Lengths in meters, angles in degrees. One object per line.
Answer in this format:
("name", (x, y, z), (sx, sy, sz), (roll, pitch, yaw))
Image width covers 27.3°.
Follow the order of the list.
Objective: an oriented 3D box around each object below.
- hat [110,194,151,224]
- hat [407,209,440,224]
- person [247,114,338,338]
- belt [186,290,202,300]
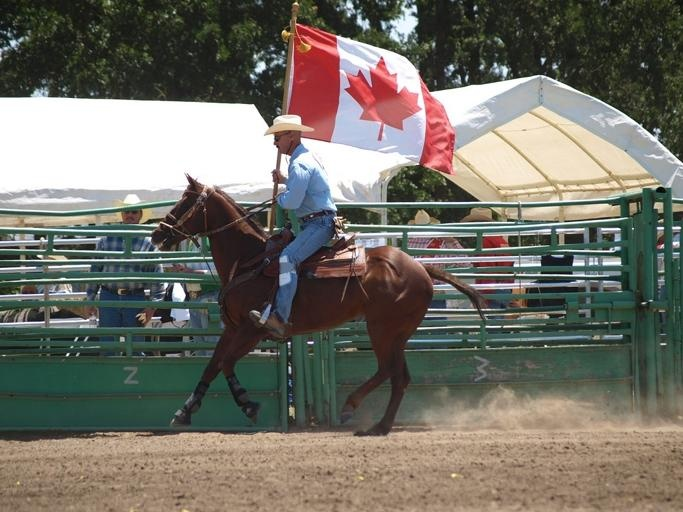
("hat", (-4.280, -1.059, 28.609), (0.691, 0.302, 0.785), (3, -24, -9))
("hat", (1.727, -0.830, 29.807), (0.568, 0.250, 0.406), (1, 4, 42))
("person", (-0.776, -0.591, 24.781), (1.379, 3.906, 0.565), (-1, -6, -1))
("belt", (-2.783, 0.709, 26.561), (0.178, 0.178, 0.209), (4, -12, -5))
